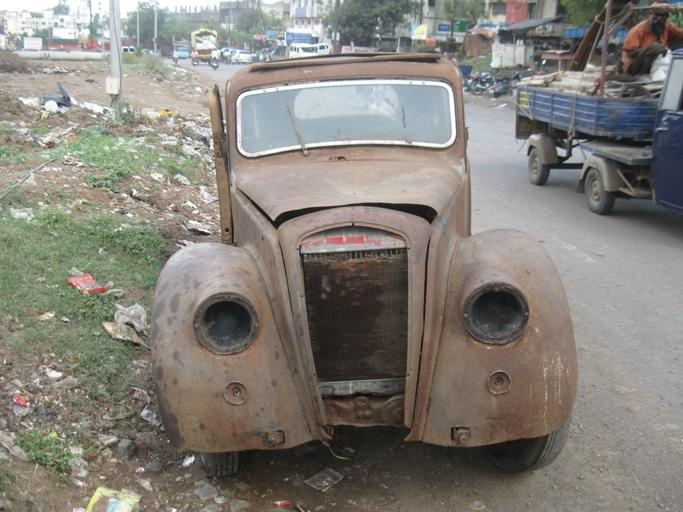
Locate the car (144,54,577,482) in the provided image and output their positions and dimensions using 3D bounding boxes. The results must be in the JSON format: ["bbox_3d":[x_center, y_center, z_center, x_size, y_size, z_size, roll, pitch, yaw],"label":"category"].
[{"bbox_3d":[0.003,-0.076,4.303,2.764,2.777,2.880,-3,21,-10],"label":"car"}]

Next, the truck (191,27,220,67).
[{"bbox_3d":[-16.252,-25.049,63.857,2.942,3.776,5.584,-6,29,-17],"label":"truck"}]

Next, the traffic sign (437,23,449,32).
[{"bbox_3d":[9.927,-22.242,52.772,1.032,0.669,0.795,3,21,6],"label":"traffic sign"}]
